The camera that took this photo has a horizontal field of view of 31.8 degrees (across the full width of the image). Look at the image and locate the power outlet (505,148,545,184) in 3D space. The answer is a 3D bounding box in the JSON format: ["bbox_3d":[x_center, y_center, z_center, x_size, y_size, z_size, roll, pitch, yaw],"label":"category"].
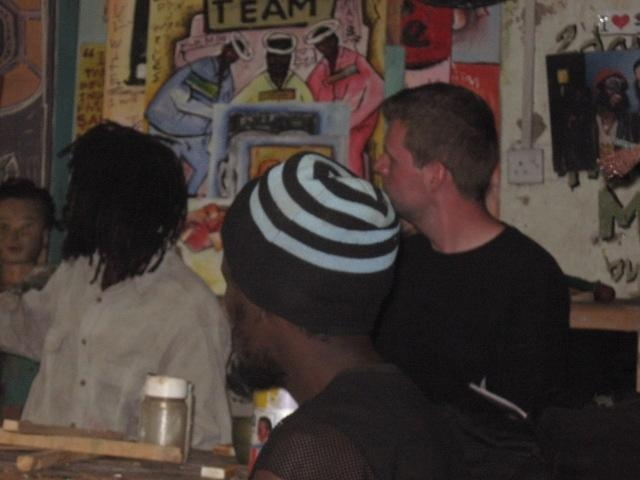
[{"bbox_3d":[1.373,-0.484,7.461,0.228,0.229,0.095,0,-2,8],"label":"power outlet"}]

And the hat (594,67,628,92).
[{"bbox_3d":[1.887,-1.051,7.385,0.124,0.099,0.163,14,11,6],"label":"hat"}]

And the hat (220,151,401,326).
[{"bbox_3d":[0.010,0.053,5.466,0.795,0.804,0.504,-4,-29,-47],"label":"hat"}]
